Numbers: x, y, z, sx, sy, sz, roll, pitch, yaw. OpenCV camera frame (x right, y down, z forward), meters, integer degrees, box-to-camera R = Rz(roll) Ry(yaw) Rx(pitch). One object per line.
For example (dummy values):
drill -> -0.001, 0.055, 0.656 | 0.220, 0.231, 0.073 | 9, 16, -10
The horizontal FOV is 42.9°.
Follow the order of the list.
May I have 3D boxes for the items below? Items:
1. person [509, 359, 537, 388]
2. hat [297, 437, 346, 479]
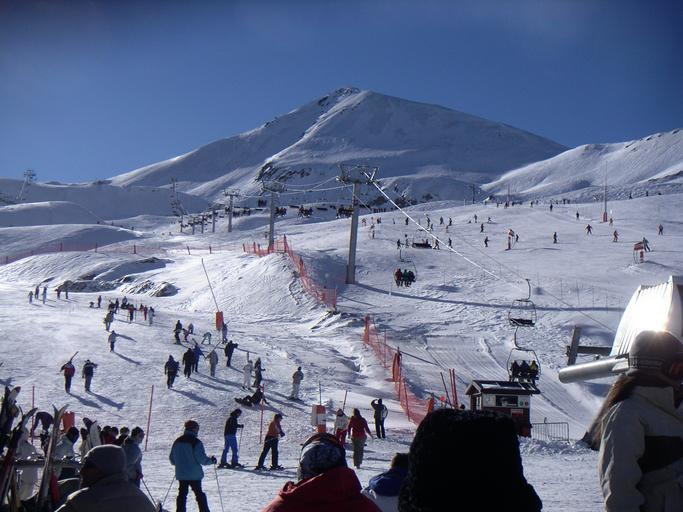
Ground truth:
person -> 6.200, 4.009, 29.476 | 1.271, 1.037, 0.428 | 3, 0, 8
hat -> -0.284, 2.842, 12.090 | 0.561, 0.566, 0.681 | 0, 2, -2
